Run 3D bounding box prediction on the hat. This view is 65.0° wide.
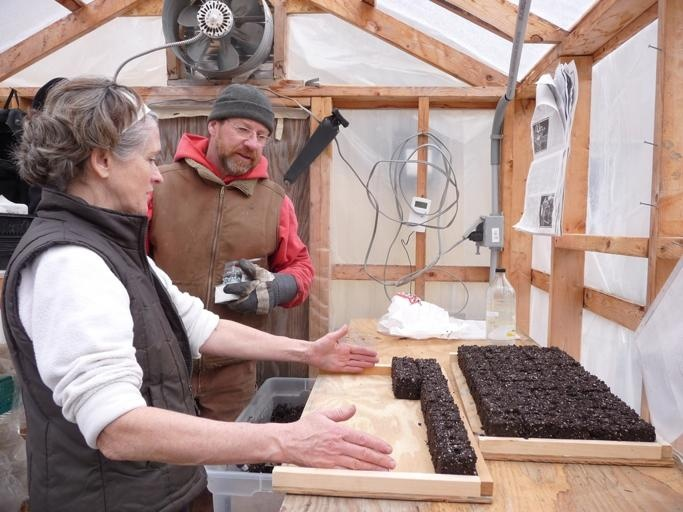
[{"bbox_3d":[-0.471,-0.709,2.624,0.223,0.159,0.237,3,0,13],"label":"hat"}]

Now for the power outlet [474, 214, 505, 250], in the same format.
[{"bbox_3d":[0.651,-0.115,2.412,0.122,0.178,0.173,0,7,6],"label":"power outlet"}]

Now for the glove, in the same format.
[{"bbox_3d":[-0.370,0.163,2.536,0.290,0.222,0.428,-4,-3,33],"label":"glove"}]

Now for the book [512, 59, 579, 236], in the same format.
[{"bbox_3d":[0.813,-0.403,2.150,0.163,0.598,0.490,2,-1,12],"label":"book"}]
